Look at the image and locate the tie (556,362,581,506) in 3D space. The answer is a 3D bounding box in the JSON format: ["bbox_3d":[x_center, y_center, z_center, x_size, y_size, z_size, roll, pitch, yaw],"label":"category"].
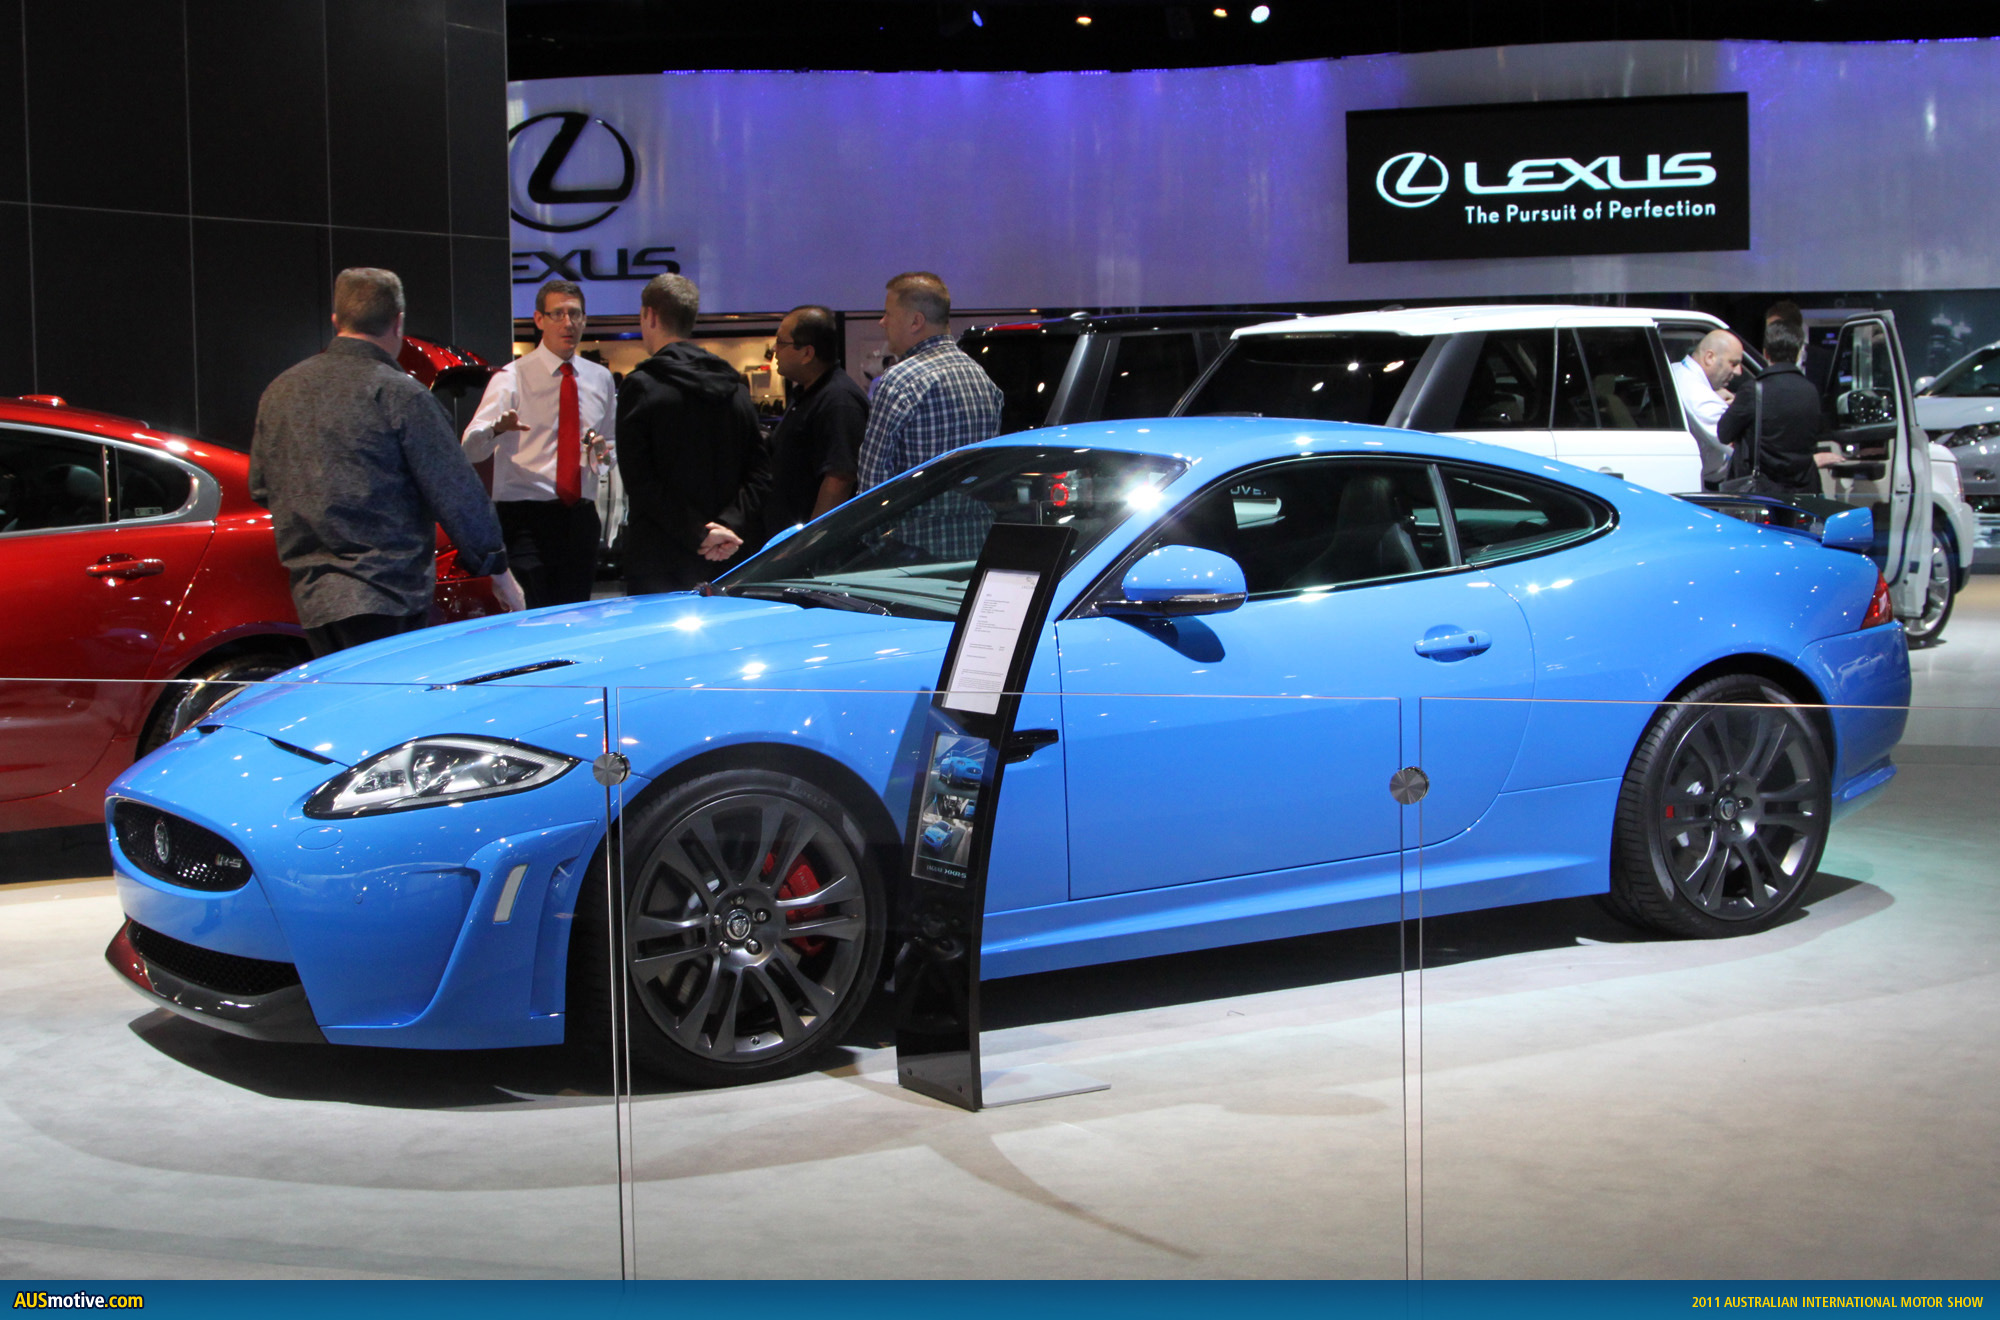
[{"bbox_3d":[-2.214,-1.182,6.807,0.128,0.692,0.051,1,8,-1],"label":"tie"}]

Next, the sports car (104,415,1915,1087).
[{"bbox_3d":[0.183,0.177,3.109,4.069,1.103,1.881,-2,4,-19],"label":"sports car"}]
